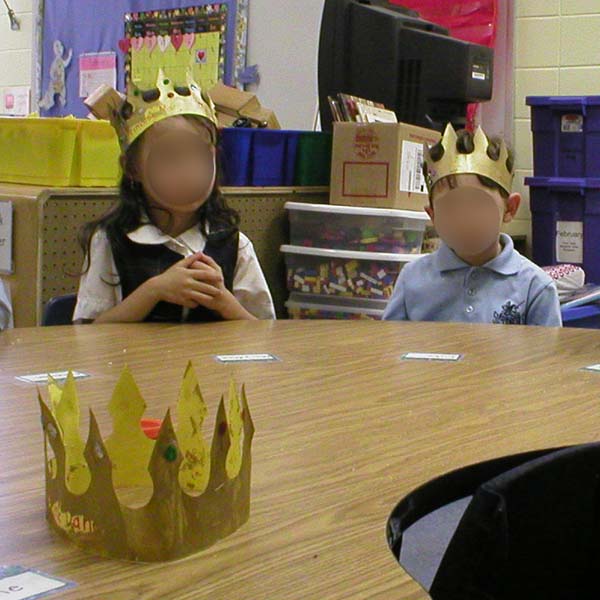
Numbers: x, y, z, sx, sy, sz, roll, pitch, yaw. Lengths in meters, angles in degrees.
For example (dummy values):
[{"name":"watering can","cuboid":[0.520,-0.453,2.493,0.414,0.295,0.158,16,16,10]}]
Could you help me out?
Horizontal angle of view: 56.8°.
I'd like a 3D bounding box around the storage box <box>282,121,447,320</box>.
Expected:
[{"name":"storage box","cuboid":[0.333,-0.267,2.579,0.552,1.211,0.702,2,4,19]}]
